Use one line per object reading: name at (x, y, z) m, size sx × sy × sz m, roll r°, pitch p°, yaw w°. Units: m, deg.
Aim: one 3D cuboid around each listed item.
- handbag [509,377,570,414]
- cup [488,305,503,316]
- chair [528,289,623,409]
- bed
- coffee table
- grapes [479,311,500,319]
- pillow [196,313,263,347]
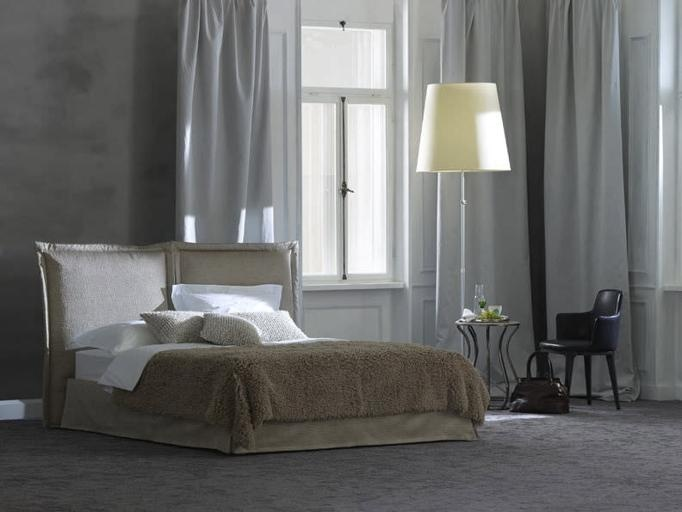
handbag at (1.608, 1.012, 5.729) m, size 0.518 × 0.382 × 0.231 m, roll 1°, pitch 3°, yaw 19°
cup at (1.340, 0.460, 6.063) m, size 0.134 × 0.123 × 0.135 m, roll -1°, pitch 1°, yaw 0°
chair at (2.089, 0.817, 6.250) m, size 0.699 × 1.071 × 0.690 m, roll 6°, pitch -4°, yaw -44°
bed at (-0.830, 0.784, 4.965) m, size 1.807 × 1.371 × 2.162 m, roll 1°, pitch -3°, yaw -41°
coffee table at (1.392, 0.927, 6.605) m, size 0.468 × 0.637 × 0.480 m, roll -3°, pitch -4°, yaw -32°
grapes at (1.254, 0.507, 5.996) m, size 0.089 × 0.065 × 0.099 m, roll 3°, pitch -2°, yaw -26°
pillow at (-0.788, 0.522, 5.049) m, size 0.252 × 0.162 × 0.283 m, roll 8°, pitch 6°, yaw -14°
